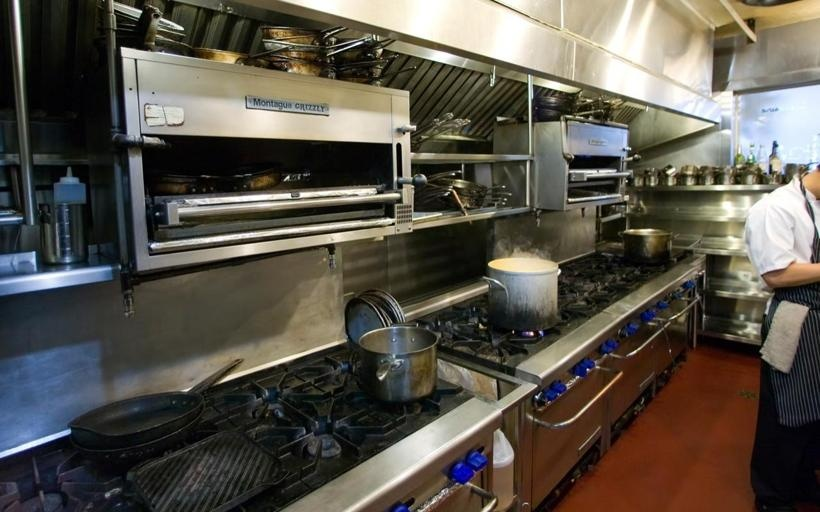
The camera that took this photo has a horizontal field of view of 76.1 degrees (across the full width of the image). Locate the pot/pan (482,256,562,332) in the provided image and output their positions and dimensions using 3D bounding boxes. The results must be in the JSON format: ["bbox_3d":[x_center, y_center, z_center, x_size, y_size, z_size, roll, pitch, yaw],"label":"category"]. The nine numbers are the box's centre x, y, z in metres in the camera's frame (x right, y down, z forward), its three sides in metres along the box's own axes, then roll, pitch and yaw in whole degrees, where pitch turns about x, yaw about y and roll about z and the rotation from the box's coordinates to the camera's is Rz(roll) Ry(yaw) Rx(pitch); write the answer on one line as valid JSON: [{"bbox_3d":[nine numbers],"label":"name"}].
[{"bbox_3d":[0.730,0.236,3.282,0.498,0.340,0.378,-3,9,-1],"label":"pot/pan"}]

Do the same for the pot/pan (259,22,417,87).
[{"bbox_3d":[-0.409,-0.927,2.539,0.468,0.151,0.367,7,11,38],"label":"pot/pan"}]

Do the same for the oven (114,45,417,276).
[{"bbox_3d":[-0.671,-0.405,2.587,1.413,0.779,0.732,-8,9,-38],"label":"oven"}]

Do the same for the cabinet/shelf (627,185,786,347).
[{"bbox_3d":[3.155,0.122,5.563,1.389,1.221,0.350,11,14,36],"label":"cabinet/shelf"}]

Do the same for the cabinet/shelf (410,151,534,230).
[{"bbox_3d":[0.308,-0.466,3.528,1.258,0.420,0.356,-9,10,-42],"label":"cabinet/shelf"}]

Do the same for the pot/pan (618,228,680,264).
[{"bbox_3d":[2.156,-0.085,4.696,0.468,0.229,0.297,2,4,41],"label":"pot/pan"}]

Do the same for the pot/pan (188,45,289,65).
[{"bbox_3d":[-0.764,-0.893,2.368,0.385,0.081,0.153,-10,13,-33],"label":"pot/pan"}]

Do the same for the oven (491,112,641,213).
[{"bbox_3d":[1.331,-0.723,4.184,0.995,0.555,0.620,-8,12,-39],"label":"oven"}]
